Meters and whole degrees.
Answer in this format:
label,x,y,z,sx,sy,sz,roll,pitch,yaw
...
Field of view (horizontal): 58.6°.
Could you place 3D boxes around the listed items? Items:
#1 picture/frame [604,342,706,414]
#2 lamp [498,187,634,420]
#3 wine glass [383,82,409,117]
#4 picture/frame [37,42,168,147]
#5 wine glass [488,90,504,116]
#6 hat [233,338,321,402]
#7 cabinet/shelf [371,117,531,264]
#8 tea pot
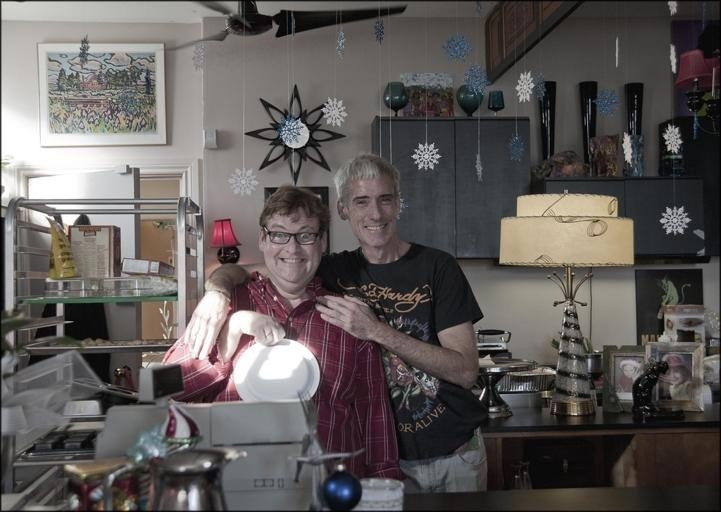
label,x,y,z,sx,sy,sz,roll,pitch,yaw
picture/frame,1.566,0.661,3.424,0.378,0.263,0.020,0,-14,4
lamp,1.245,0.223,3.667,0.644,1.157,1.135,0,4,31
wine glass,0.254,-1.167,4.829,0.226,0.259,0.209,-2,4,-17
picture/frame,-2.019,-1.280,5.013,0.842,0.680,0.032,0,3,3
wine glass,1.036,-1.167,4.926,0.162,0.215,0.160,0,-5,13
hat,-0.333,0.431,2.429,0.343,0.224,0.167,-2,4,-2
cabinet/shelf,0.569,-0.449,4.215,1.077,0.955,0.372,0,2,0
tea pot,-0.500,0.663,1.932,0.245,0.229,0.150,3,-4,-25
